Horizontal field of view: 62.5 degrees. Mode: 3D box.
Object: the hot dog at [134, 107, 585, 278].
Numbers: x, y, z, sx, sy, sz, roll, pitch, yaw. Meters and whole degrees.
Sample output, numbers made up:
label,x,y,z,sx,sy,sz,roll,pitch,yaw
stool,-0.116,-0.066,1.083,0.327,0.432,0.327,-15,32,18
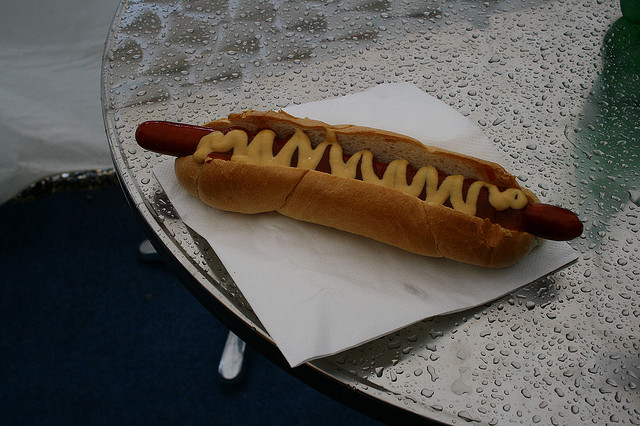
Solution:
label,x,y,z,sx,sy,sz,roll,pitch,yaw
hot dog,0.157,-0.131,2.099,1.676,0.228,0.494,13,69,10
